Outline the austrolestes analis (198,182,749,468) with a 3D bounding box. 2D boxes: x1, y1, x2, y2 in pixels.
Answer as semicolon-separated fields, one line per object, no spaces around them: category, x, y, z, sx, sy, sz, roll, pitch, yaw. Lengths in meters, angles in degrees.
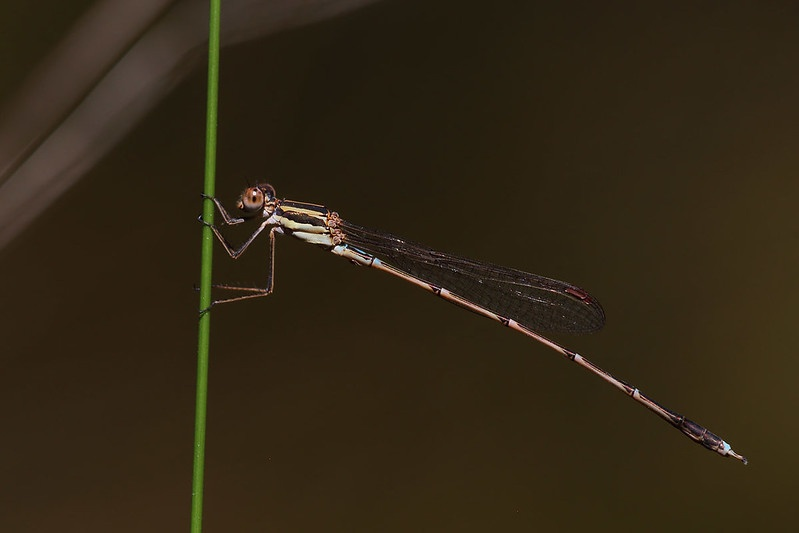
austrolestes analis;0.412;0.341;6.238;4.193;1.205;1.039;20;-49;4
